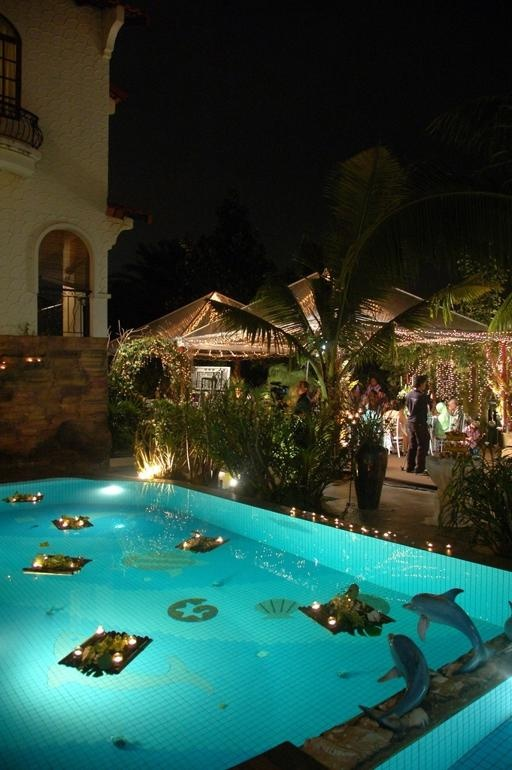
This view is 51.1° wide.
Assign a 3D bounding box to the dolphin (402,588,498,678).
[{"bbox_3d":[0.913,1.103,2.564,0.428,0.271,0.267,16,7,16],"label":"dolphin"}]

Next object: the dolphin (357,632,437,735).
[{"bbox_3d":[0.544,1.169,2.126,0.320,0.335,0.310,0,5,-23],"label":"dolphin"}]

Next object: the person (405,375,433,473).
[{"bbox_3d":[2.901,0.737,9.805,0.563,2.001,0.651,1,5,-11],"label":"person"}]
